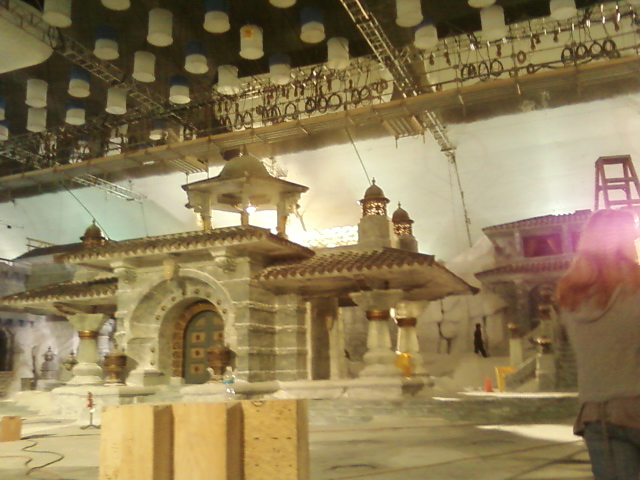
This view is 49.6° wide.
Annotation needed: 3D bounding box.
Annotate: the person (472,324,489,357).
[{"bbox_3d":[6.517,4.040,28.044,0.534,1.256,1.341,-2,-1,12],"label":"person"}]
